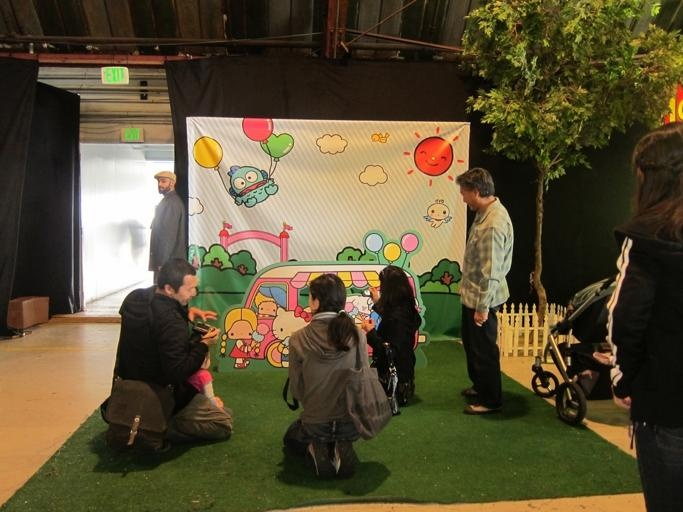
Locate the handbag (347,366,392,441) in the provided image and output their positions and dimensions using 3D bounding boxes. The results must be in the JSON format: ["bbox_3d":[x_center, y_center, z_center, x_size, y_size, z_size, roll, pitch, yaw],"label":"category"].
[{"bbox_3d":[0.210,1.091,4.197,0.336,0.521,0.180,-7,11,-38],"label":"handbag"}]

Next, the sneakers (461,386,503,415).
[{"bbox_3d":[1.352,1.390,5.315,0.395,0.276,0.151,-5,0,13],"label":"sneakers"}]

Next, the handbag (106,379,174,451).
[{"bbox_3d":[-1.589,1.243,4.382,0.512,0.623,0.337,2,-1,-7],"label":"handbag"}]

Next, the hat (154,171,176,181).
[{"bbox_3d":[-2.195,-1.012,6.978,0.172,0.064,0.164,2,1,-28],"label":"hat"}]

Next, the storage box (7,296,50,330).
[{"bbox_3d":[-4.504,0.794,8.027,0.336,0.469,0.628,2,0,1],"label":"storage box"}]

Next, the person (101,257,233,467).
[{"bbox_3d":[-1.392,0.810,4.707,0.875,1.457,1.109,12,13,31],"label":"person"}]

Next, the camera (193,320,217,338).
[{"bbox_3d":[-1.192,0.637,4.876,0.176,0.071,0.177,3,14,-35],"label":"camera"}]
